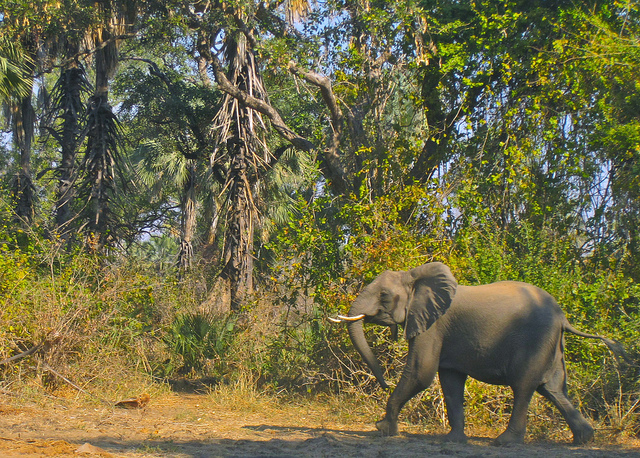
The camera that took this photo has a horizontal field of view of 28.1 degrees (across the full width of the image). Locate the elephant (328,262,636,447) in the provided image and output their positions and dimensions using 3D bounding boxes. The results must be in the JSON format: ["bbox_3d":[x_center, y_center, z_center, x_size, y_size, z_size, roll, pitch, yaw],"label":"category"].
[{"bbox_3d":[2.999,2.702,26.623,6.458,4.018,2.855,2,-8,8],"label":"elephant"}]
